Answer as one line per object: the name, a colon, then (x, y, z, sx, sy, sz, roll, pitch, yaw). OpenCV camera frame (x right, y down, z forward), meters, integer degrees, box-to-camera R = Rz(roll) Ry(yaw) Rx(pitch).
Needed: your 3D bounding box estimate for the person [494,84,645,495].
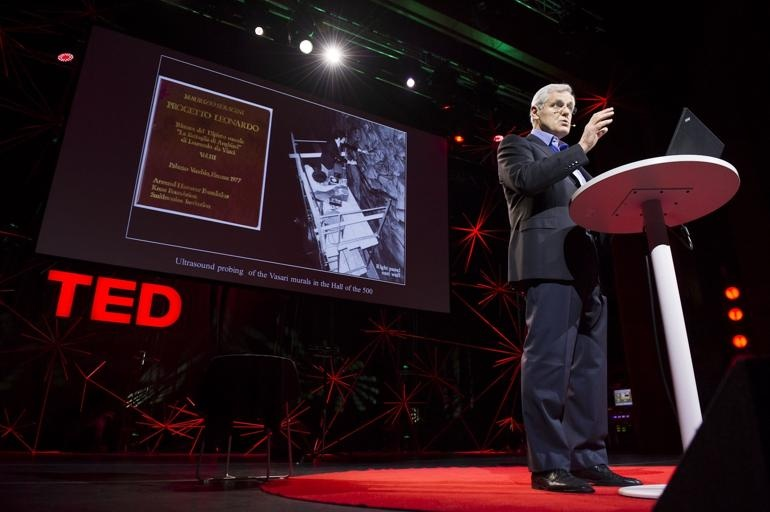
person: (0.939, 0.087, 2.798, 0.664, 2.156, 0.502, 0, -11, 10)

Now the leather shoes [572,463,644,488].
leather shoes: (1.114, 1.109, 2.723, 0.366, 0.143, 0.120, -3, -16, 10)

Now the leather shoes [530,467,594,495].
leather shoes: (0.833, 1.078, 2.554, 0.227, 0.095, 0.127, -16, -25, 39)

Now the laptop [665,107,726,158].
laptop: (1.510, -0.559, 2.581, 0.152, 0.297, 0.394, -8, -14, 44)
